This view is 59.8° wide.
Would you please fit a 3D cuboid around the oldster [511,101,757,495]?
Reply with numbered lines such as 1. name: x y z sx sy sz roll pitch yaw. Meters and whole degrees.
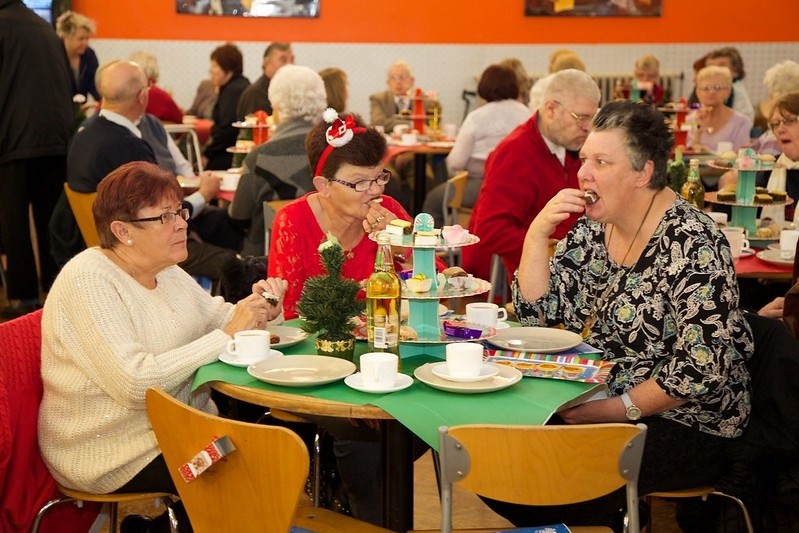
1. oldster: 0.847 0.122 2.810 1.065 1.434 1.072 2 0 -41

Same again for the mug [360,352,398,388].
1. mug: -0.068 0.357 2.289 0.130 0.109 0.160 0 8 -1

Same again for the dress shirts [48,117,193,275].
1. dress shirts: -1.889 -0.422 4.906 0.797 1.127 0.843 -6 30 -44

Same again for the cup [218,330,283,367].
1. cup: -0.534 0.305 2.542 0.225 0.100 0.216 -3 3 0

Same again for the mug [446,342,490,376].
1. mug: 0.225 0.298 2.286 0.109 0.083 0.108 0 3 37

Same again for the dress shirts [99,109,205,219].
1. dress shirts: -1.689 -0.850 5.083 0.746 0.711 0.320 14 47 18

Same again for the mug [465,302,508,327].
1. mug: 0.342 0.186 2.708 0.146 0.087 0.108 4 3 3

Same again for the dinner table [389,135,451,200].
1. dinner table: 0.180 -1.043 7.438 0.704 0.657 0.691 -5 9 -25

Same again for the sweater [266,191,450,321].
1. sweater: -0.220 0.003 3.207 0.677 0.708 0.396 -8 -1 -6

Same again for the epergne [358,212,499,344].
1. epergne: 0.102 -0.004 2.545 0.453 0.448 0.456 5 12 26

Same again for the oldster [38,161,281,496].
1. oldster: -0.914 0.327 2.769 1.022 1.392 0.874 -5 7 -29

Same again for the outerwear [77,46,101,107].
1. outerwear: -3.732 -2.294 8.296 0.241 0.659 0.627 -2 8 -24

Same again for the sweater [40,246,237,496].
1. sweater: -1.032 0.338 2.922 0.857 0.901 0.884 0 3 12

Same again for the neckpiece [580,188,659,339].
1. neckpiece: 0.886 -0.013 2.733 0.195 0.668 0.032 20 -4 46
